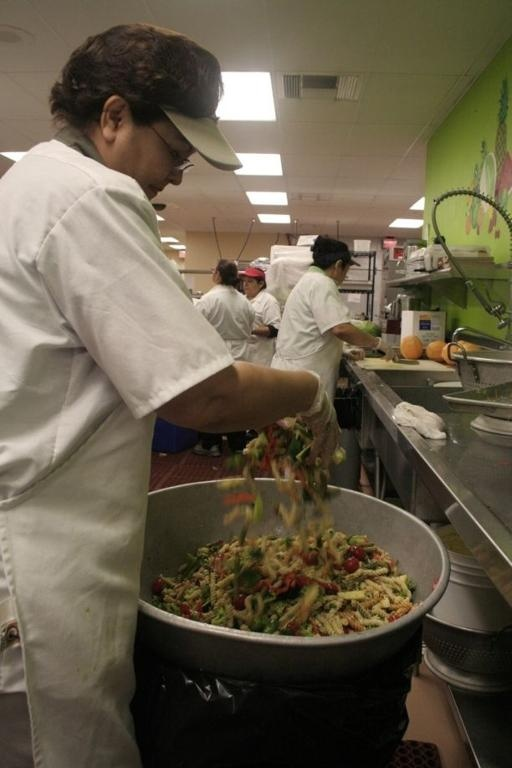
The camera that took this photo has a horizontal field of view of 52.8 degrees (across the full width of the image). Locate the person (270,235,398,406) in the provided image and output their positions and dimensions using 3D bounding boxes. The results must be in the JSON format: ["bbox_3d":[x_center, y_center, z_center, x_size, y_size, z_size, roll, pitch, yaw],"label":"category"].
[{"bbox_3d":[0.502,-0.266,3.462,0.712,1.335,0.690,1,17,-4],"label":"person"}]

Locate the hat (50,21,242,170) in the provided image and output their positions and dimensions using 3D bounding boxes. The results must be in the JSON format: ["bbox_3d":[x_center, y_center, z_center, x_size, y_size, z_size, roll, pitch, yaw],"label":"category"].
[{"bbox_3d":[-0.140,-0.369,0.743,0.270,0.140,0.176,17,24,-1],"label":"hat"}]

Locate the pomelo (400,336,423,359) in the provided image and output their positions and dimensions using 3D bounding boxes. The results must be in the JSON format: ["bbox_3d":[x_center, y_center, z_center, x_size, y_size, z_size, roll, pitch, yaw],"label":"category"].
[{"bbox_3d":[1.062,-0.244,3.430,0.181,0.156,0.178,-2,12,-3],"label":"pomelo"}]

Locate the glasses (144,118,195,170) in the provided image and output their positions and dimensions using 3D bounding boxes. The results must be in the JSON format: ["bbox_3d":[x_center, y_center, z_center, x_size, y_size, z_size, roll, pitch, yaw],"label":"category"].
[{"bbox_3d":[-0.119,-0.330,0.711,0.040,0.022,0.052,-10,52,-46],"label":"glasses"}]

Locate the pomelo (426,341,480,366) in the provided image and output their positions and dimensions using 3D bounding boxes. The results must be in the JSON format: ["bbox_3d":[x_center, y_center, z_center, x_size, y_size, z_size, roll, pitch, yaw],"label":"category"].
[{"bbox_3d":[0.927,-0.145,2.425,0.286,0.132,0.172,-5,5,-5],"label":"pomelo"}]
